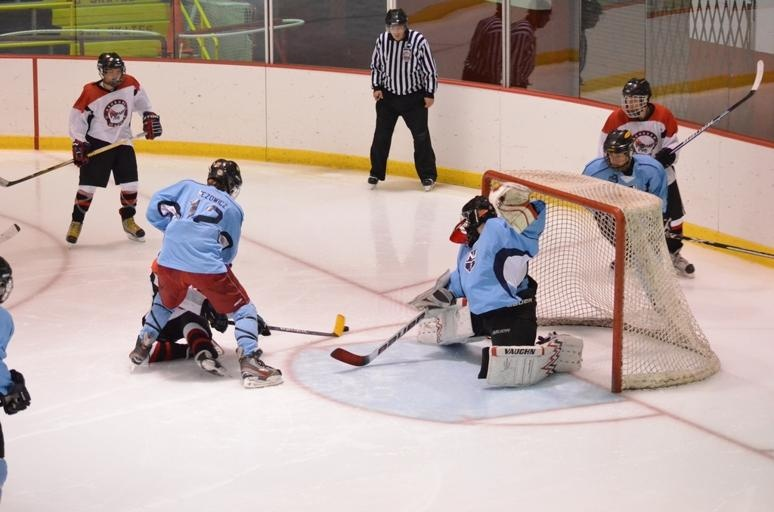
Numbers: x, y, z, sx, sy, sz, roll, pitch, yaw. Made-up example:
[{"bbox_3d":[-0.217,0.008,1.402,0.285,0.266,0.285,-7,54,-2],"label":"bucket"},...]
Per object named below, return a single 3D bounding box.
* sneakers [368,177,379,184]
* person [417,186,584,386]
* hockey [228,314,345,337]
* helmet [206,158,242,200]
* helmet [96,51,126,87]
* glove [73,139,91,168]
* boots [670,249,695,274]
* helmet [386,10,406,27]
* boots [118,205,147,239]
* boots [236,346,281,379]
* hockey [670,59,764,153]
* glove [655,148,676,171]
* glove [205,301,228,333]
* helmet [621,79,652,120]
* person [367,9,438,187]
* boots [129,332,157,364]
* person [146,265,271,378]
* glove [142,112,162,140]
[{"bbox_3d":[-0.149,-0.800,7.889,0.085,0.048,0.129,1,6,-5],"label":"sneakers"},{"bbox_3d":[0.615,0.133,4.193,0.599,1.091,0.834,-12,21,-38],"label":"person"},{"bbox_3d":[-0.626,0.435,4.620,0.614,0.145,0.121,2,-27,3],"label":"hockey"},{"bbox_3d":[-0.976,-0.466,4.416,0.206,0.209,0.238,12,7,18],"label":"helmet"},{"bbox_3d":[-2.277,-1.518,6.102,0.184,0.280,0.288,-5,17,-19],"label":"helmet"},{"bbox_3d":[-2.556,-0.846,6.181,0.168,0.179,0.082,6,6,28],"label":"glove"},{"bbox_3d":[2.250,0.048,5.645,0.074,0.167,0.110,-43,-13,2],"label":"boots"},{"bbox_3d":[0.073,-2.362,7.458,0.168,0.182,0.199,-3,-6,-2],"label":"helmet"},{"bbox_3d":[-2.243,-0.286,6.492,0.099,0.273,0.196,-26,-14,-33],"label":"boots"},{"bbox_3d":[-0.712,0.600,4.118,0.247,0.197,0.153,-1,16,-8],"label":"boots"},{"bbox_3d":[2.817,-1.250,6.240,0.338,1.089,0.091,18,43,5],"label":"hockey"},{"bbox_3d":[2.108,-0.721,5.542,0.129,0.157,0.066,-40,5,8],"label":"glove"},{"bbox_3d":[-1.003,0.364,4.379,0.135,0.180,0.070,-37,7,48],"label":"glove"},{"bbox_3d":[1.848,-1.149,5.487,0.206,0.295,0.233,6,17,16],"label":"helmet"},{"bbox_3d":[0.170,-1.588,7.644,0.738,1.778,0.334,3,17,8],"label":"person"},{"bbox_3d":[-1.408,0.531,4.312,0.137,0.193,0.080,27,1,-1],"label":"boots"},{"bbox_3d":[-0.997,0.344,4.211,0.896,0.586,0.306,6,17,17],"label":"person"},{"bbox_3d":[-2.057,-1.114,6.457,0.179,0.238,0.097,-7,-11,-17],"label":"glove"}]
